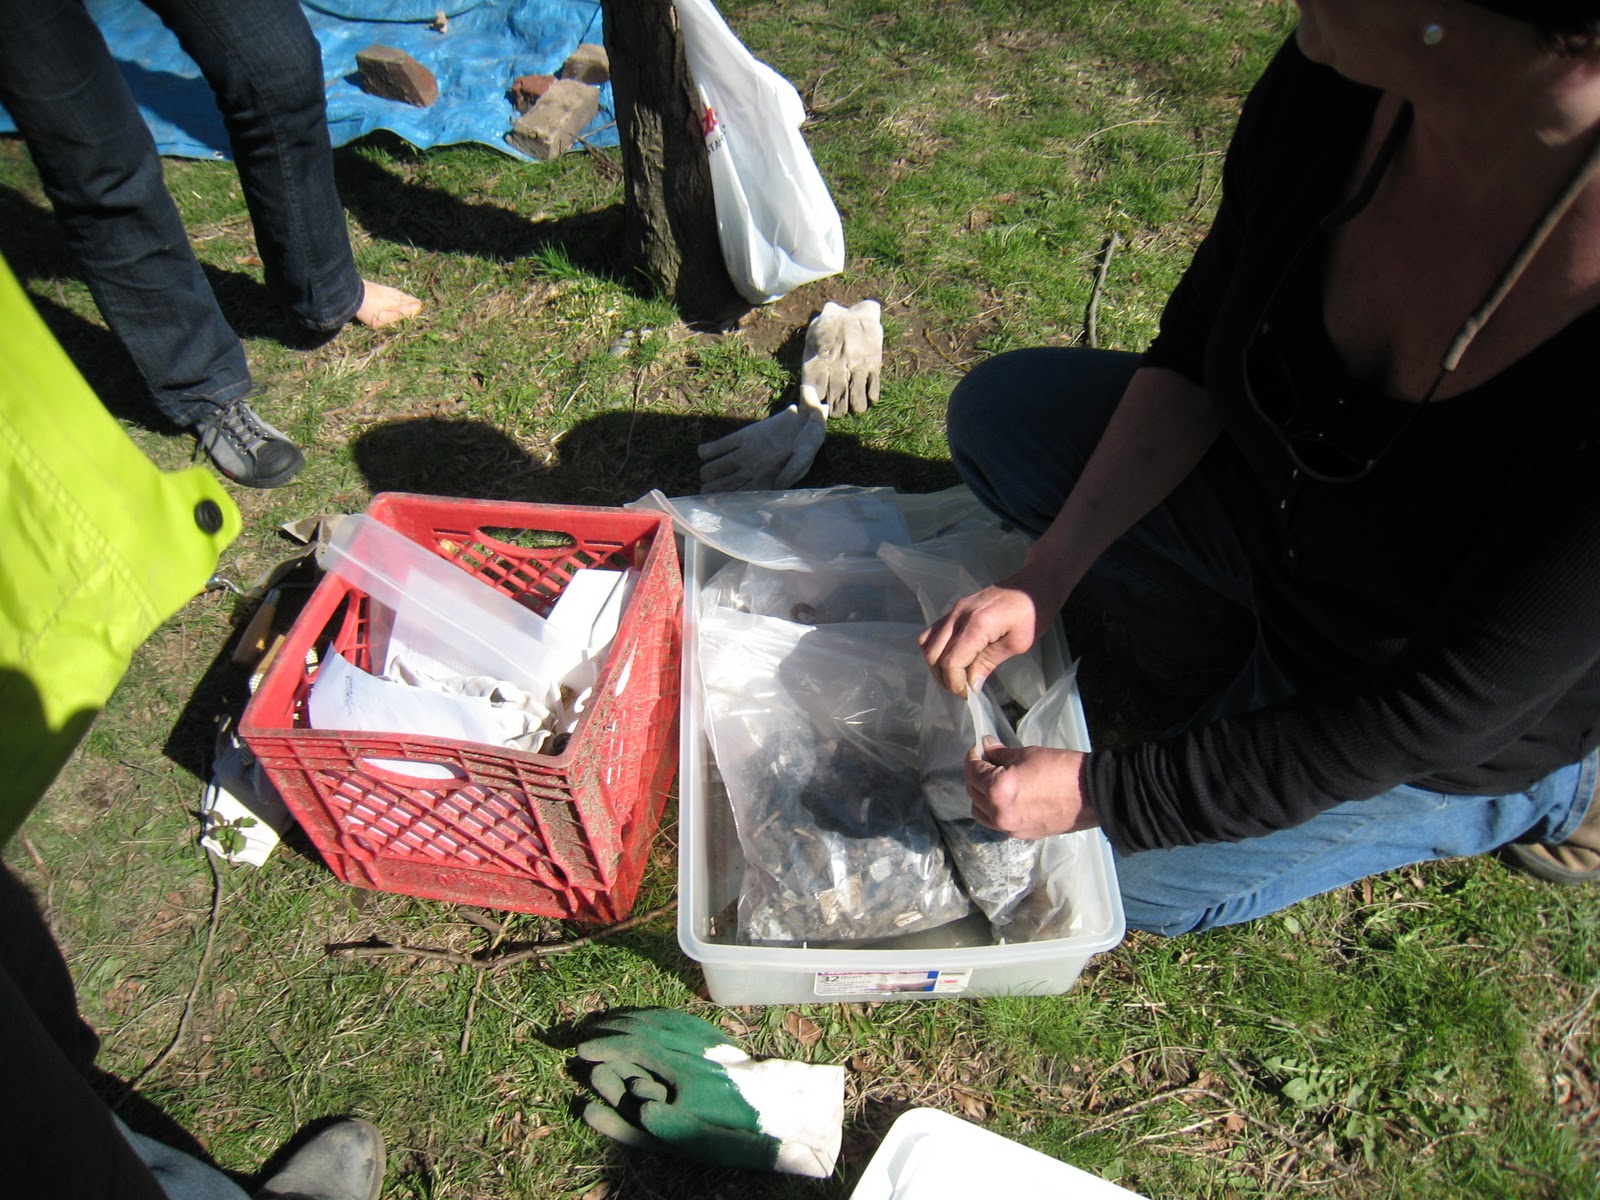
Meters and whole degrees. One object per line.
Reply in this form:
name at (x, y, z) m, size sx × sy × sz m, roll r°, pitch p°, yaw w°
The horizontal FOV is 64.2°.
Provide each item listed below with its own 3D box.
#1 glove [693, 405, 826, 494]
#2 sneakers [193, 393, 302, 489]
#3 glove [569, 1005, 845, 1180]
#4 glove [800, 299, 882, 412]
glove at (-0.092, -0.364, 3.131) m, size 0.267 × 0.074 × 0.188 m, roll -26°, pitch 59°, yaw -8°
sneakers at (-1.435, -0.379, 3.097) m, size 0.191 × 0.375 × 0.177 m, roll -16°, pitch 94°, yaw 19°
glove at (-0.164, 0.897, 2.332) m, size 0.427 × 0.172 × 0.258 m, roll 5°, pitch 46°, yaw 2°
glove at (0.098, -0.622, 3.348) m, size 0.084 × 0.301 × 0.177 m, roll -14°, pitch 71°, yaw -33°
